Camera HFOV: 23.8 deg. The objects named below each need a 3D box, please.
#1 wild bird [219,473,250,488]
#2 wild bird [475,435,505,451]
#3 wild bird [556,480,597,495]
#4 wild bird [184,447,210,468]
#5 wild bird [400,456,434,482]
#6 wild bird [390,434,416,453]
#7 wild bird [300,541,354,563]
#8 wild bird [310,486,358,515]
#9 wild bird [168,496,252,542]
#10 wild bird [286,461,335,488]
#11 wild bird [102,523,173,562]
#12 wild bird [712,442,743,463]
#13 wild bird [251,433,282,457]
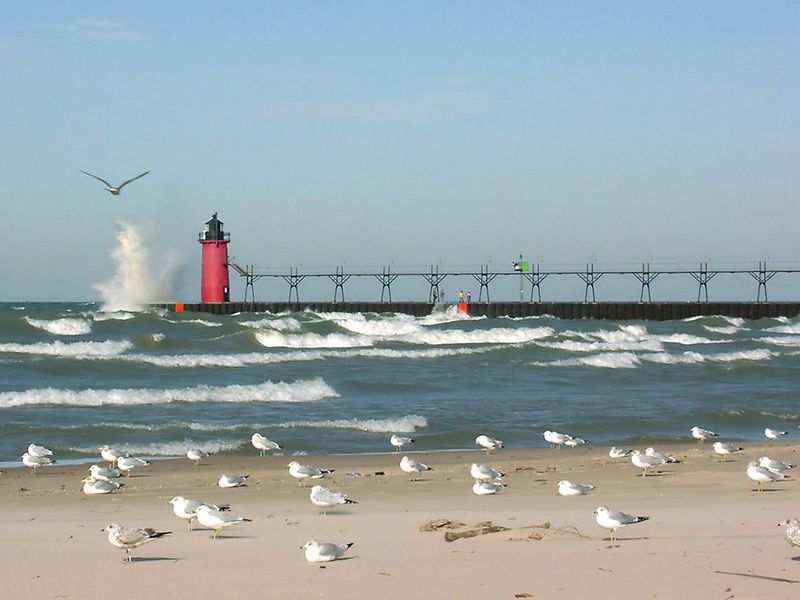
[{"bbox_3d":[-3.112,3.353,35.538,0.526,0.256,1.013,0,2,0],"label":"wild bird"},{"bbox_3d":[1.902,2.899,39.103,0.556,0.301,1.147,0,2,2],"label":"wild bird"},{"bbox_3d":[3.244,3.397,34.481,0.641,0.273,0.513,0,2,-3],"label":"wild bird"},{"bbox_3d":[-3.977,3.064,37.369,0.224,0.308,0.571,3,-16,-19],"label":"wild bird"},{"bbox_3d":[0.344,3.178,36.550,0.876,0.462,0.291,-17,5,-42],"label":"wild bird"},{"bbox_3d":[0.040,2.900,38.747,0.245,0.361,0.657,8,-27,-27],"label":"wild bird"},{"bbox_3d":[-1.176,4.197,31.611,0.688,0.222,0.351,-2,-4,2],"label":"wild bird"},{"bbox_3d":[-1.034,3.521,33.856,1.155,0.505,0.340,-1,0,4],"label":"wild bird"},{"bbox_3d":[-3.267,3.710,32.797,1.353,0.603,0.906,0,2,6],"label":"wild bird"},{"bbox_3d":[-1.829,3.200,35.473,1.008,0.353,0.337,-2,-2,35],"label":"wild bird"},{"bbox_3d":[-4.360,4.024,31.811,1.228,0.554,0.334,2,3,-22],"label":"wild bird"},{"bbox_3d":[6.435,2.917,37.312,0.340,0.290,0.573,3,-10,-36],"label":"wild bird"},{"bbox_3d":[-2.788,2.862,38.243,0.773,0.433,0.326,-2,-2,20],"label":"wild bird"}]
